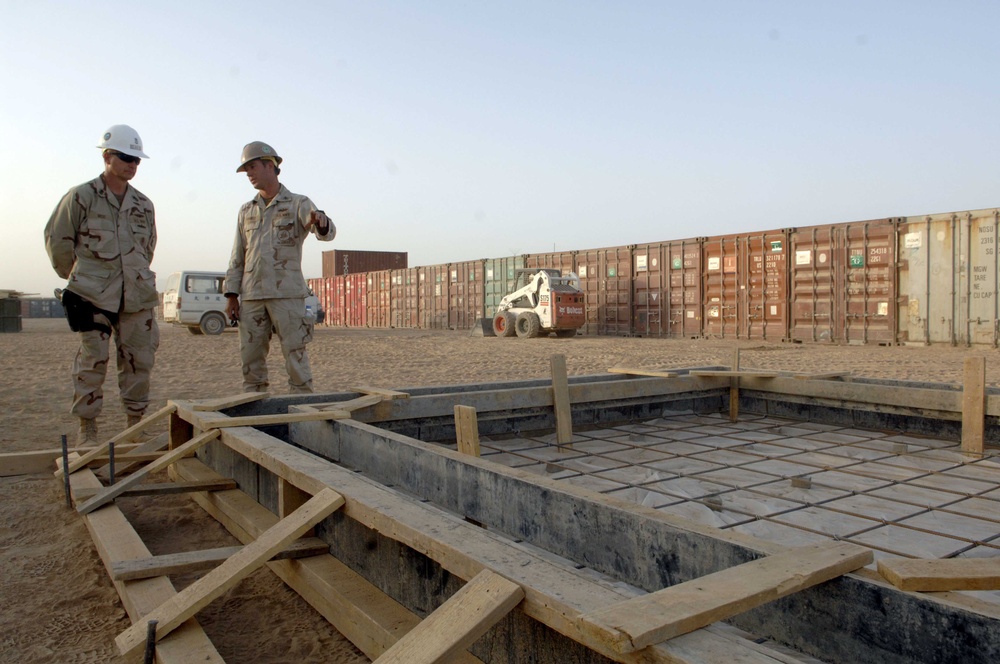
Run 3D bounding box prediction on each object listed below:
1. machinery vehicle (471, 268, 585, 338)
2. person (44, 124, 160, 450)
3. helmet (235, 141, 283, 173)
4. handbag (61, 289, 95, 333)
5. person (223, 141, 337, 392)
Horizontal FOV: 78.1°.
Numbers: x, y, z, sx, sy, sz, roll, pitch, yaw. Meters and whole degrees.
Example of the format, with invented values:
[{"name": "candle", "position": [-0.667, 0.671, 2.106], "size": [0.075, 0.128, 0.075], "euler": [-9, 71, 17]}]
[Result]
[{"name": "machinery vehicle", "position": [1.026, -0.852, 18.472], "size": [1.611, 2.079, 2.736], "euler": [-5, 6, -42]}, {"name": "person", "position": [-2.926, -0.348, 4.585], "size": [0.703, 2.329, 0.515], "euler": [-5, 6, -31]}, {"name": "helmet", "position": [-1.869, -1.395, 4.805], "size": [0.287, 0.207, 0.391], "euler": [-3, 4, -24]}, {"name": "handbag", "position": [-3.119, -0.154, 4.462], "size": [0.248, 0.308, 0.201], "euler": [0, 5, 21]}, {"name": "person", "position": [-1.846, -0.509, 4.974], "size": [1.055, 1.998, 0.544], "euler": [1, 5, 25]}]
